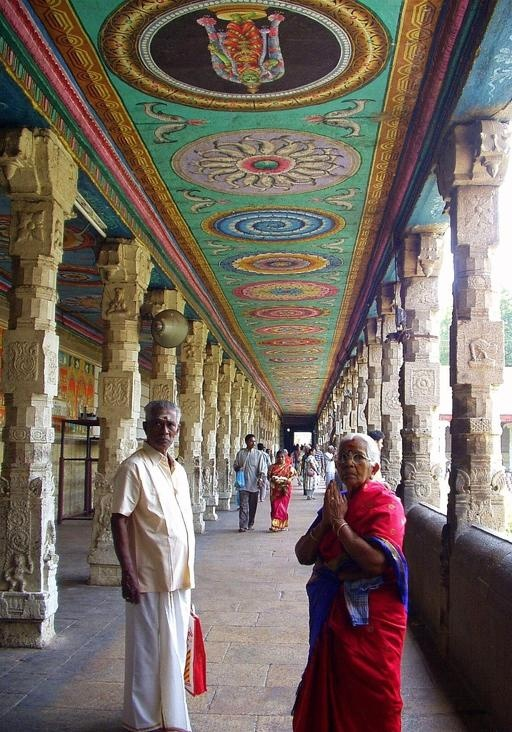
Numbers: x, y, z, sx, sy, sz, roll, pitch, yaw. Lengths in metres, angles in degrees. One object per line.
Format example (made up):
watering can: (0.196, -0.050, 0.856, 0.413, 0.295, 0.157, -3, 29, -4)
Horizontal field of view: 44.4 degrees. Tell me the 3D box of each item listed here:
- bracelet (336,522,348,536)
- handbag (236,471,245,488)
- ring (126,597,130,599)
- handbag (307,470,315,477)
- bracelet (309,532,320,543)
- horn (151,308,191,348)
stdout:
bracelet: (0.287, 0.541, 2.090, 0.033, 0.042, 0.066, -1, -7, 7)
handbag: (-0.265, 1.961, 10.905, 0.131, 0.284, 0.220, 1, -7, -9)
ring: (-0.514, 0.934, 2.531, 0.012, 0.003, 0.012, 0, -6, 0)
handbag: (1.638, 3.230, 18.877, 0.193, 0.044, 0.189, -3, -30, 12)
bracelet: (0.215, 0.621, 2.284, 0.027, 0.023, 0.026, 2, -4, -15)
horn: (-1.107, -0.484, 7.993, 0.428, 0.508, 0.496, 1, -7, -10)
